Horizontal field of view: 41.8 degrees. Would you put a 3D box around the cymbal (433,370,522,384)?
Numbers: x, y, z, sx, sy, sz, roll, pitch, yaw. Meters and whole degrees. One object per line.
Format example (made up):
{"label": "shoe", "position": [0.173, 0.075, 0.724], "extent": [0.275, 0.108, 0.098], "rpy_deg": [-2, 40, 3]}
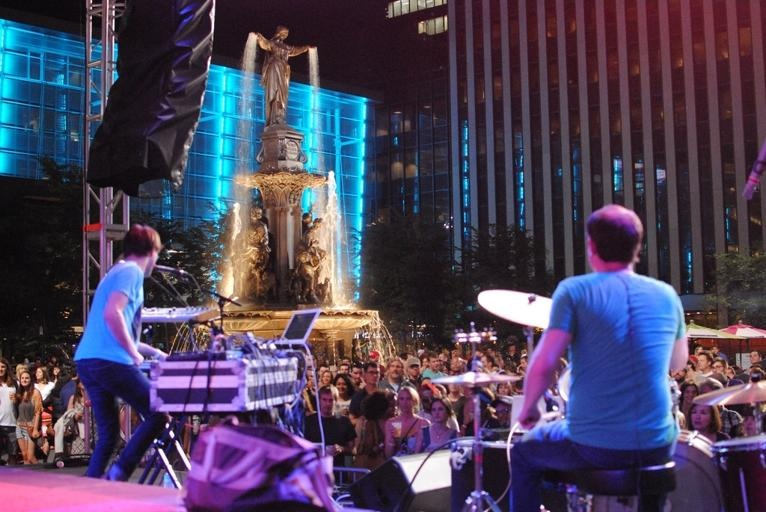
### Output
{"label": "cymbal", "position": [1.491, 1.924, 15.549], "extent": [0.559, 0.128, 0.552], "rpy_deg": [-2, -1, -14]}
